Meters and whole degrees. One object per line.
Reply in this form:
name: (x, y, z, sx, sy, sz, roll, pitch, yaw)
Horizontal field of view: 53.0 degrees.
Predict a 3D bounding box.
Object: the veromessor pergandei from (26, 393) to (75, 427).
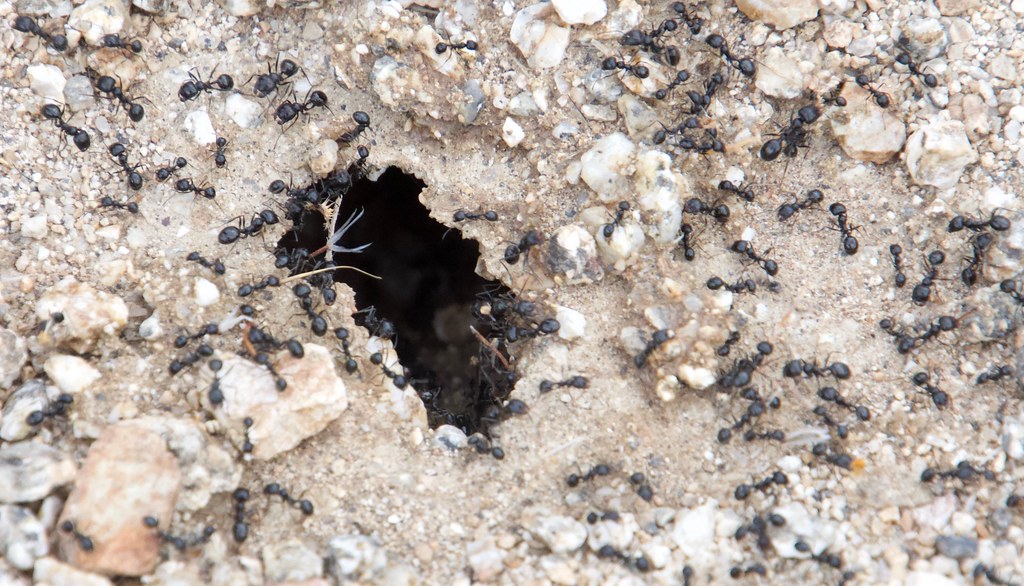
veromessor pergandei: (-4.470, 1.149, 9.915, 0.416, 0.168, 0.242, -40, 117, -6)
